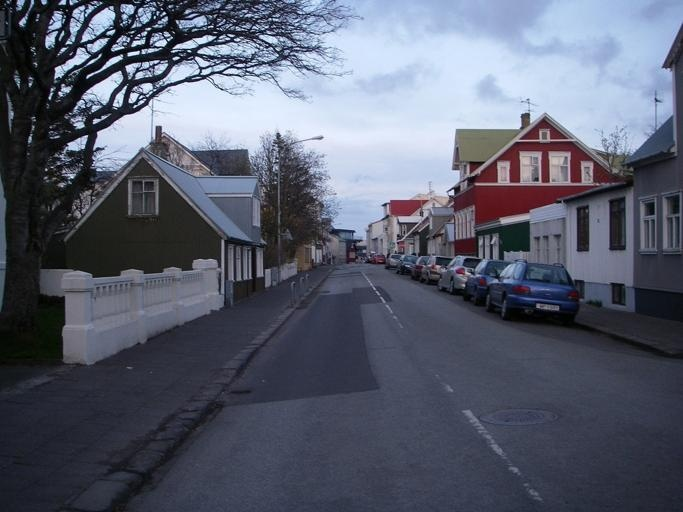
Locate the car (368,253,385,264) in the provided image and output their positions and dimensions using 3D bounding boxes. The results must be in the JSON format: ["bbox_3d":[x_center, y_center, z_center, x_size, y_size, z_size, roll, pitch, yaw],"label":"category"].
[{"bbox_3d":[5.923,0.621,103.314,1.564,1.447,7.613,0,3,-8],"label":"car"}]
